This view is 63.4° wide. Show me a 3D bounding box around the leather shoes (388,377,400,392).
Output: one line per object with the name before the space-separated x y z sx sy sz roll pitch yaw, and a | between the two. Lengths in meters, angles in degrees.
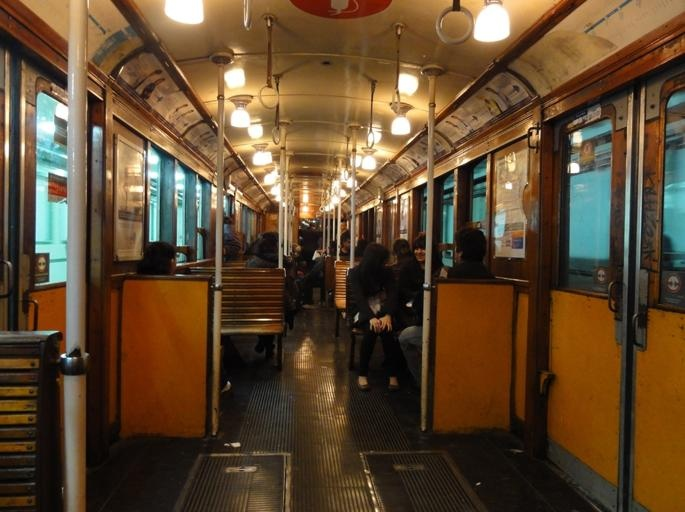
leather shoes | 0.586 1.475 6.494 0.116 0.138 0.198 1 5 3

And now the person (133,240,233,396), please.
person | -1.566 0.655 5.385 1.372 0.924 0.506 11 10 -1

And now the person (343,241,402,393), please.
person | 0.376 0.704 6.757 0.631 1.706 0.895 2 5 6

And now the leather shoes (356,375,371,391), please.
leather shoes | 0.234 1.463 6.516 0.120 0.151 0.233 1 5 -6

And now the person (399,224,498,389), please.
person | 1.084 0.625 5.962 1.099 1.850 0.754 6 7 42
